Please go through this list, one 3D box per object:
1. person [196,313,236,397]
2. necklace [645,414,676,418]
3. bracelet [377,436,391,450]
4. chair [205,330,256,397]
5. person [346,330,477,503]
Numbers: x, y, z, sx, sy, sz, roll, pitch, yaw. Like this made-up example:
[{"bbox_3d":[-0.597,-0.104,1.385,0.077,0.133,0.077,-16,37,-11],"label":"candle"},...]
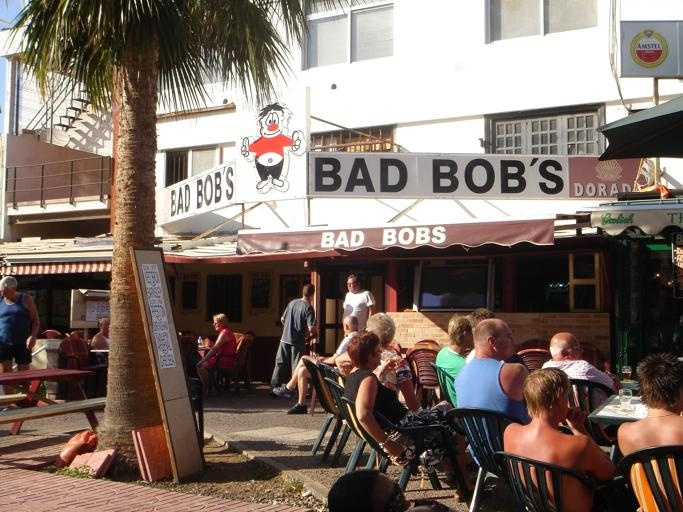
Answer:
[{"bbox_3d":[-2.353,1.822,14.894,0.729,1.407,1.138,-2,-2,-4],"label":"person"},{"bbox_3d":[2.659,1.335,6.556,0.228,0.025,0.051,-4,-3,22],"label":"necklace"},{"bbox_3d":[0.426,1.853,7.840,0.138,0.143,0.039,1,25,5],"label":"bracelet"},{"bbox_3d":[-2.139,2.122,15.621,1.022,1.476,0.924,1,-4,-6],"label":"chair"},{"bbox_3d":[0.710,1.687,8.382,1.293,1.829,1.089,-5,9,-18],"label":"person"}]
